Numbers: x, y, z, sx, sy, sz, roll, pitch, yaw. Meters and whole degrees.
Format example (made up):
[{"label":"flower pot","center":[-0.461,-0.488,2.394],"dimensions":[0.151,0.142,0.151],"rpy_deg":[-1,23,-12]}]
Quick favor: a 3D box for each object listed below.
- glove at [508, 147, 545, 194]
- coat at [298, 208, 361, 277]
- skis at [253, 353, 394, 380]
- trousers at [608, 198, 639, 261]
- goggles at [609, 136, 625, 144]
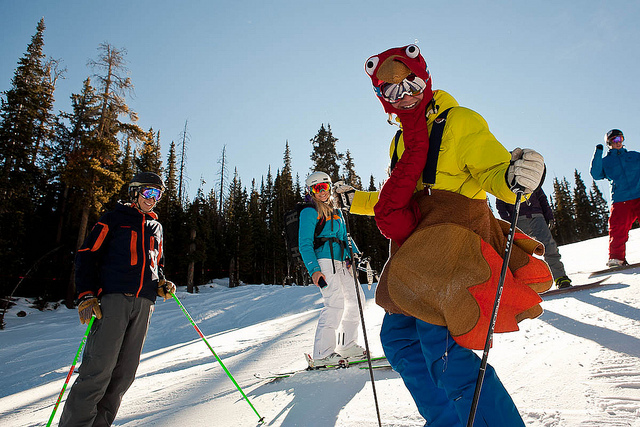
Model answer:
[{"label":"glove","center":[2.334,-0.497,5.201],"dimensions":[0.410,0.532,0.234],"rpy_deg":[-4,-7,17]},{"label":"coat","center":[0.035,0.449,8.259],"dimensions":[0.736,1.316,0.760],"rpy_deg":[1,0,0]},{"label":"skis","center":[0.044,2.519,7.886],"dimensions":[2.119,0.291,0.240],"rpy_deg":[1,-25,-27]},{"label":"trousers","center":[6.285,0.238,9.560],"dimensions":[0.537,1.484,0.470],"rpy_deg":[0,0,21]},{"label":"goggles","center":[6.427,-1.606,9.979],"dimensions":[0.246,0.162,0.084],"rpy_deg":[-6,-8,27]}]
